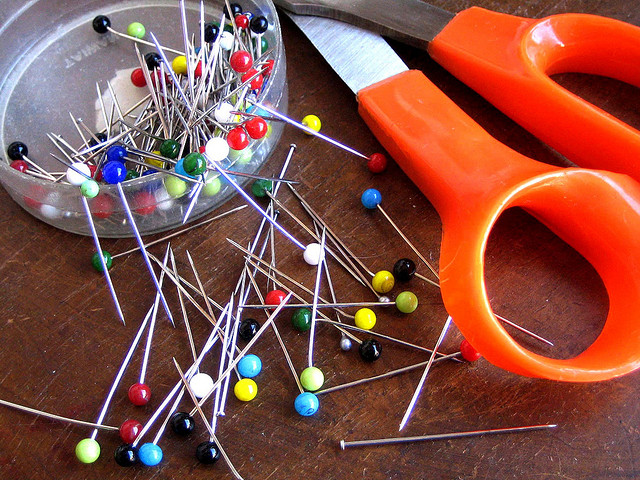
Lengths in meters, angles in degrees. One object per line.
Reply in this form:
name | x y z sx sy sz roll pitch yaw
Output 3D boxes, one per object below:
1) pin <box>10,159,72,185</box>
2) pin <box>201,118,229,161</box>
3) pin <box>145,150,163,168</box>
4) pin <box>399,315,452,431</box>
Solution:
pin | -0.687 -0.164 1.843 0.095 0.028 0.028 26 68 -1
pin | -0.247 -0.238 1.795 0.081 0.032 0.032 54 21 18
pin | -0.409 -0.196 1.847 0.028 0.041 0.032 -11 27 11
pin | 0.241 0.316 1.700 0.008 0.021 0.308 10 63 46
